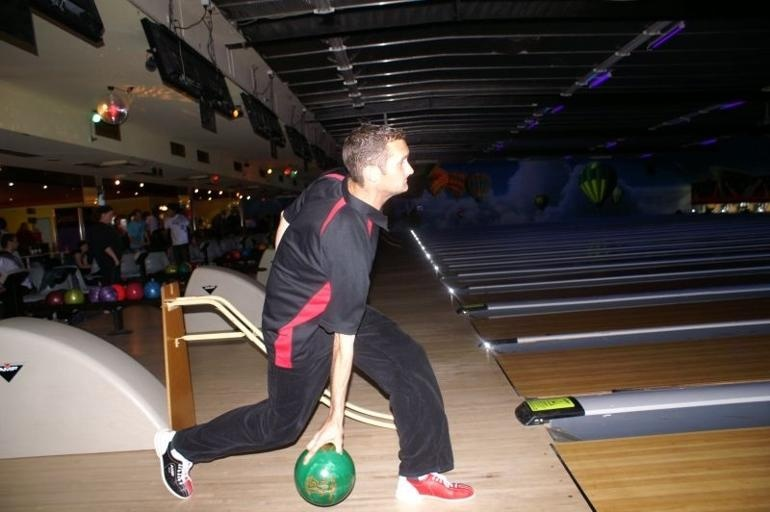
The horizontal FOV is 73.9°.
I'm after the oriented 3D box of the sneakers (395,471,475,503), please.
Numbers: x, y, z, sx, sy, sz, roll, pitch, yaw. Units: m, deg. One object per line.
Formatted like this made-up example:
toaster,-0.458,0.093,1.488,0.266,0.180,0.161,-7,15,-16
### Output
sneakers,0.248,1.223,2.788,0.443,0.184,0.152,-2,0,-2
